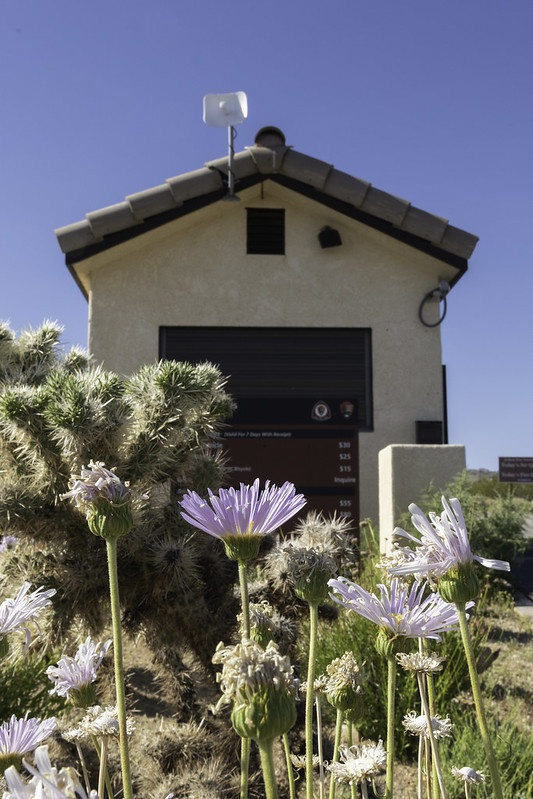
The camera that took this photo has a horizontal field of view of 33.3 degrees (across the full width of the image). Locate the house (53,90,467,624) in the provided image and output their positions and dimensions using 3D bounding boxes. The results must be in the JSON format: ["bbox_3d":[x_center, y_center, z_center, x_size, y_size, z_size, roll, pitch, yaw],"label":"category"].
[{"bbox_3d":[0.164,-0.180,8.021,3.660,4.506,3.055,0,-6,-6],"label":"house"}]
